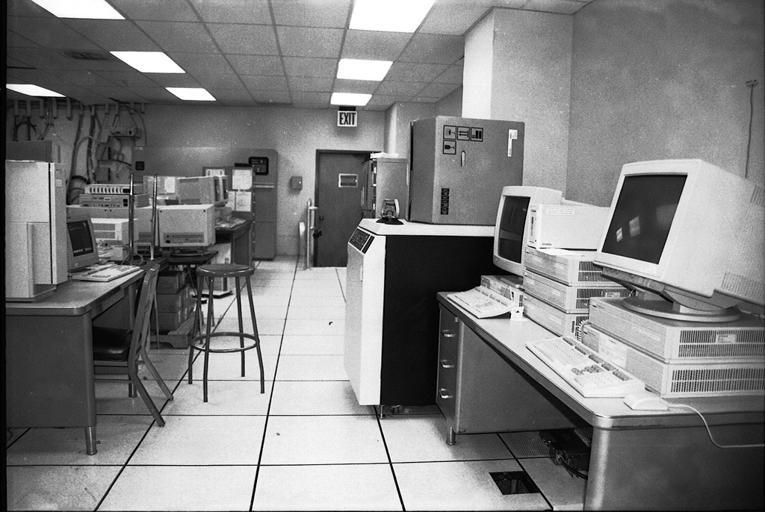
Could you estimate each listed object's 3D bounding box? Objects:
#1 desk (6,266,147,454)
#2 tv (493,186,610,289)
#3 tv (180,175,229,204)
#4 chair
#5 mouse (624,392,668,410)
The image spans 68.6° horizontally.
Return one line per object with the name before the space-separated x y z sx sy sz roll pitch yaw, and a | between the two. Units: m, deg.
desk | -1.947 0.683 3.441 0.543 0.909 0.582 -2 14 -12
tv | 0.990 -0.133 3.436 0.457 0.513 0.733 3 6 -9
tv | -2.179 -0.778 6.738 0.451 0.309 0.438 -1 9 -8
chair | -1.758 0.576 3.697 0.655 0.814 0.657 3 6 4
mouse | 1.070 0.594 2.283 0.173 0.042 0.089 0 13 -5
